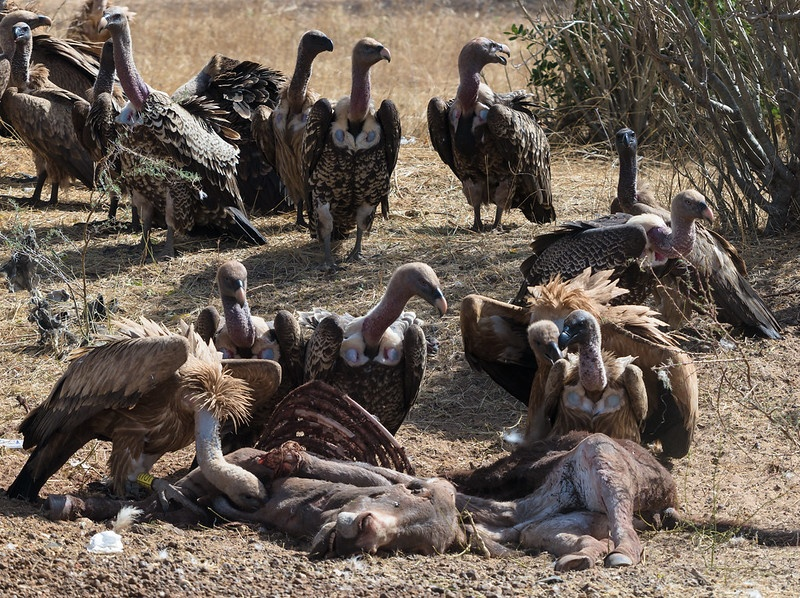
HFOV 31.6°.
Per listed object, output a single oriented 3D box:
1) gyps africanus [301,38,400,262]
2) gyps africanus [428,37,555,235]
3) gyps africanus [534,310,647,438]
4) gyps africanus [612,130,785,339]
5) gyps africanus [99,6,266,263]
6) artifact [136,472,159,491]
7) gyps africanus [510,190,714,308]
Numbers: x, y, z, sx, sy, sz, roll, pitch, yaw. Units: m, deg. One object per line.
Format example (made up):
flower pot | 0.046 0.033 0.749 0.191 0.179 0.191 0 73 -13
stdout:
gyps africanus | -0.430 -1.282 12.363 0.822 1.987 0.493 1 15 -6
gyps africanus | 0.870 -1.504 13.026 1.240 1.761 0.739 4 15 5
gyps africanus | 1.354 0.506 9.839 0.557 0.921 0.672 5 46 11
gyps africanus | 2.371 -0.497 11.414 1.962 1.816 0.631 -2 18 -25
gyps africanus | -1.992 -1.472 12.610 1.359 2.192 0.550 -9 18 -37
artifact | -1.695 1.241 9.575 0.173 0.101 0.069 5 6 37
gyps africanus | 1.625 -0.415 11.127 1.626 0.827 0.860 2 10 35
